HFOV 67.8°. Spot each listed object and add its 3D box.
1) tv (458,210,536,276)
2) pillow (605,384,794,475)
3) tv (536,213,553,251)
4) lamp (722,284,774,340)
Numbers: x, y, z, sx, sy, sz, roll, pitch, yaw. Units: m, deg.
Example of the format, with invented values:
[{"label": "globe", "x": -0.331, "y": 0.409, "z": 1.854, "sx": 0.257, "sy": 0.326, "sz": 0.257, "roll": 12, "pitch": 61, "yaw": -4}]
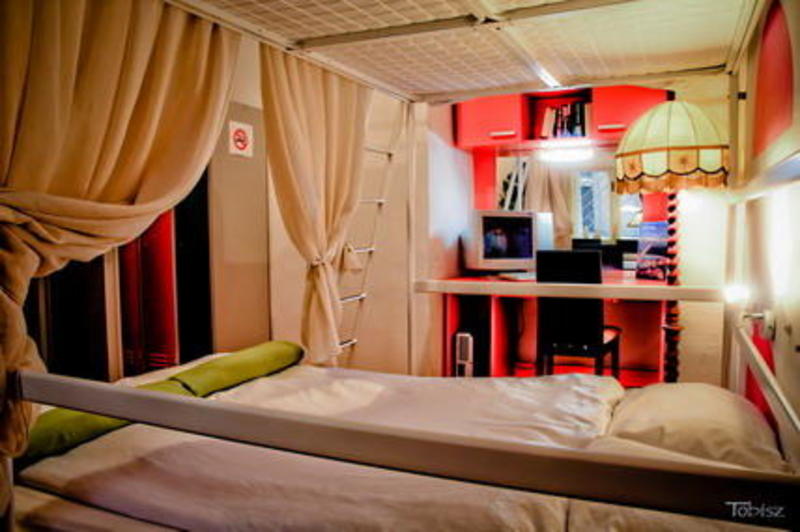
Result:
[{"label": "tv", "x": 0.789, "y": -0.178, "z": 4.744, "sx": 0.627, "sy": 0.574, "sz": 0.428, "roll": 0, "pitch": 1, "yaw": -23}, {"label": "pillow", "x": 1.133, "y": 0.587, "z": 2.190, "sx": 0.286, "sy": 0.102, "sz": 0.354, "roll": 22, "pitch": 13, "yaw": 34}, {"label": "tv", "x": 1.165, "y": -0.285, "z": 4.797, "sx": 0.228, "sy": 0.301, "sz": 0.060, "roll": 9, "pitch": -5, "yaw": -41}, {"label": "lamp", "x": 1.503, "y": 0.213, "z": 2.549, "sx": 0.174, "sy": 0.222, "sz": 0.109, "roll": 1, "pitch": 7, "yaw": 21}]
